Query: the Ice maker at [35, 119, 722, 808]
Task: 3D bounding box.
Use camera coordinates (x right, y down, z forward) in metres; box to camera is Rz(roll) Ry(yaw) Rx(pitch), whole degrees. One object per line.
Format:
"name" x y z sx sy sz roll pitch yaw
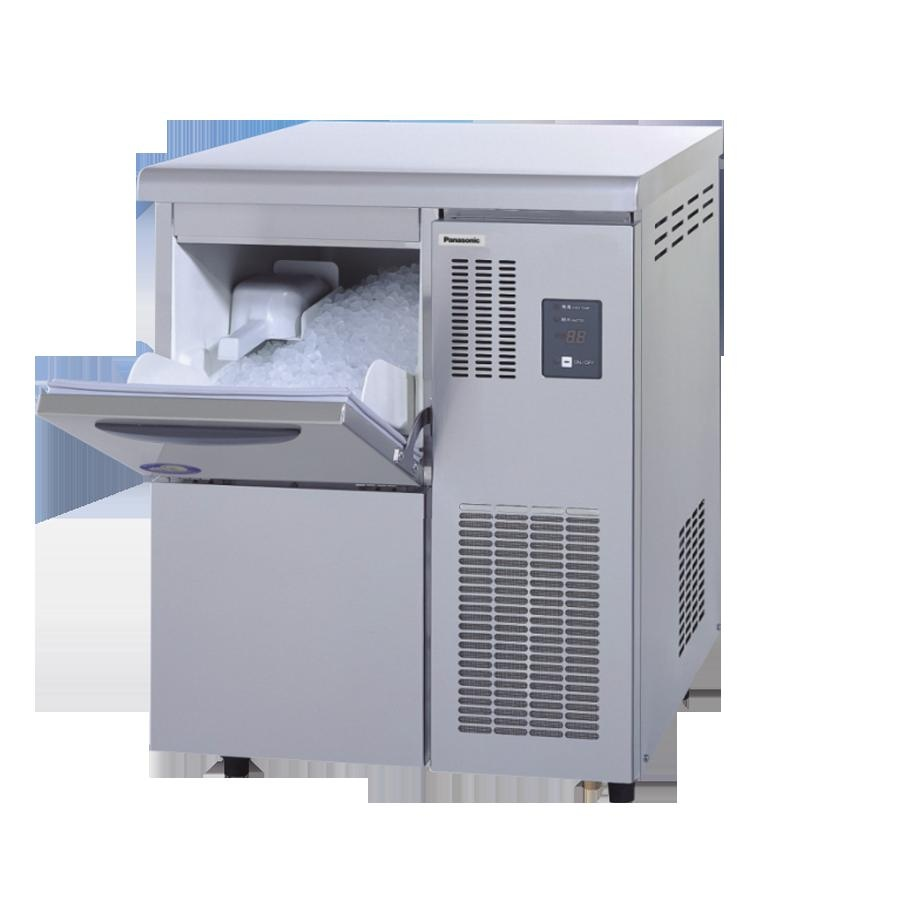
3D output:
"Ice maker" -0.092 -0.010 3.264 1.178 1.456 1.648 2 17 14
